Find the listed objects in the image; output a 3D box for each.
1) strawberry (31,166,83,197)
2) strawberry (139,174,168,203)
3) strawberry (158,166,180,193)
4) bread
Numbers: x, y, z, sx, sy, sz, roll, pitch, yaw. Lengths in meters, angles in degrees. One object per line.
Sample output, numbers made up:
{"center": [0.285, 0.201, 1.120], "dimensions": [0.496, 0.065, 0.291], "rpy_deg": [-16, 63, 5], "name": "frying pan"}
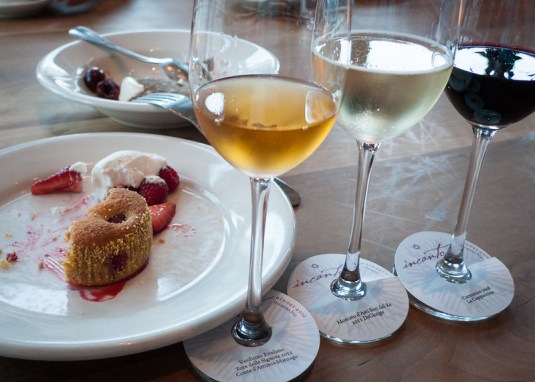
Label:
{"center": [-0.503, -0.026, 1.103], "dimensions": [0.096, 0.041, 0.059], "rpy_deg": [-13, -11, -9], "name": "strawberry"}
{"center": [-0.269, -0.005, 1.115], "dimensions": [0.063, 0.073, 0.064], "rpy_deg": [-2, -5, -11], "name": "strawberry"}
{"center": [-0.247, -0.025, 1.168], "dimensions": [0.031, 0.064, 0.048], "rpy_deg": [-22, 4, 39], "name": "strawberry"}
{"center": [-0.339, 0.099, 0.960], "dimensions": [0.147, 0.080, 0.240], "rpy_deg": [20, 33, 3], "name": "bread"}
